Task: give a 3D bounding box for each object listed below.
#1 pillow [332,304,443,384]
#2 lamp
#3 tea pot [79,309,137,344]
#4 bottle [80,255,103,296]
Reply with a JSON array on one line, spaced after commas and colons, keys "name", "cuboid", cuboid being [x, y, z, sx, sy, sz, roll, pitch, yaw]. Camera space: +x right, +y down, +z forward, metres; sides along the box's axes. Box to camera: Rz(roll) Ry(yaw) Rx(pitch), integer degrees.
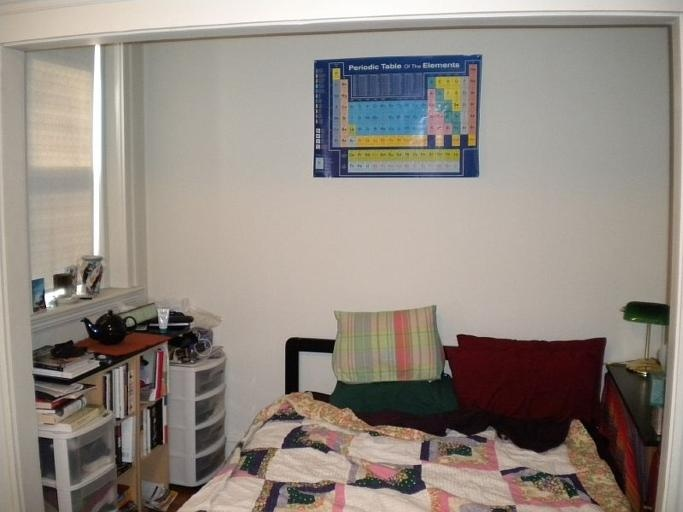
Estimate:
[{"name": "pillow", "cuboid": [0.260, 0.517, 3.298, 0.627, 0.469, 0.137, -4, 9, 7]}, {"name": "lamp", "cuboid": [1.637, 0.431, 2.987, 0.209, 0.349, 0.232, -1, 3, -37]}, {"name": "tea pot", "cuboid": [-1.260, 0.389, 3.058, 0.244, 0.177, 0.165, 4, 0, -26]}, {"name": "bottle", "cuboid": [-1.462, 0.104, 3.236, 0.141, 0.221, 0.141, 9, 15, -2]}]
